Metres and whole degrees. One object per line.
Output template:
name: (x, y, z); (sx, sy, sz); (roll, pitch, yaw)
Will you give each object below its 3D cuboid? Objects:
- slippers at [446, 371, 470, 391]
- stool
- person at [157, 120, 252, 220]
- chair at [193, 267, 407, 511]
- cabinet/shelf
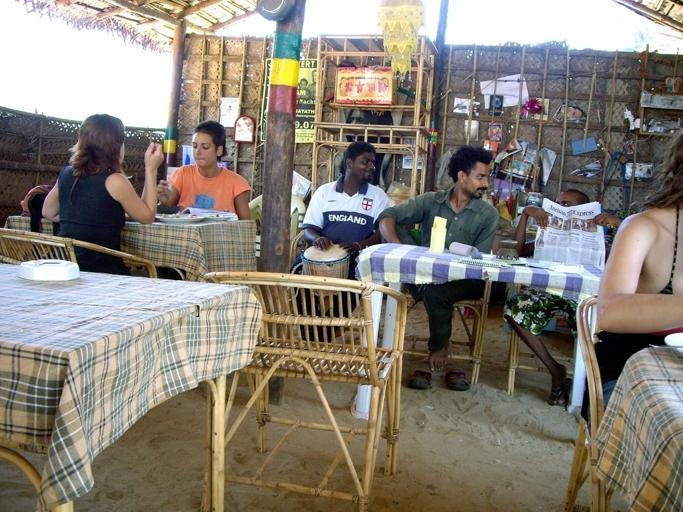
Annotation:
slippers: (0.845, 0.907, 3.786); (0.094, 0.063, 0.171); (1, 6, 10)
stool: (1.029, 0.475, 3.917); (1.049, 0.832, 0.868); (1, 0, 7)
person: (-1.183, -0.600, 4.504); (0.732, 1.074, 0.628); (4, 13, 1)
chair: (-0.174, 0.642, 2.345); (0.729, 1.108, 0.649); (6, 26, 12)
cabinet/shelf: (0.360, -1.807, 7.525); (1.476, 2.395, 1.493); (8, 22, 15)
